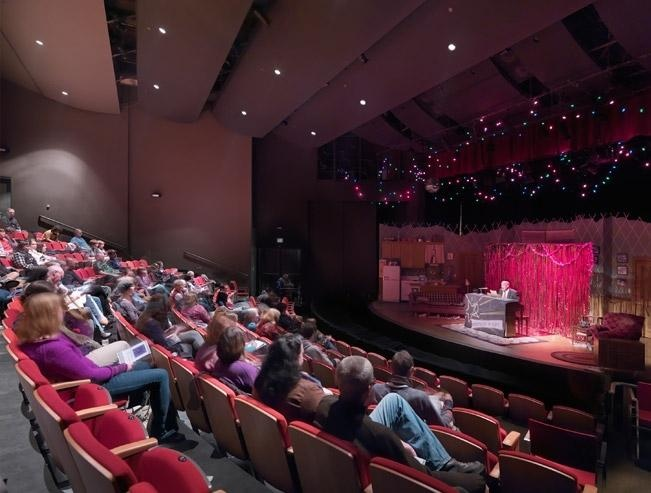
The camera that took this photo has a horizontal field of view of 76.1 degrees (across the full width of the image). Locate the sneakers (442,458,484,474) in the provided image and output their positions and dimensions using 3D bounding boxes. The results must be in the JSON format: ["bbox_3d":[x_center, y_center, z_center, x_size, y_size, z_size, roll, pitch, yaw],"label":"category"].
[{"bbox_3d":[1.068,1.669,3.187,0.182,0.072,0.162,-1,-13,11],"label":"sneakers"}]

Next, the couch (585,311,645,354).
[{"bbox_3d":[5.240,1.397,7.727,0.737,0.951,0.775,17,-9,-21],"label":"couch"}]
